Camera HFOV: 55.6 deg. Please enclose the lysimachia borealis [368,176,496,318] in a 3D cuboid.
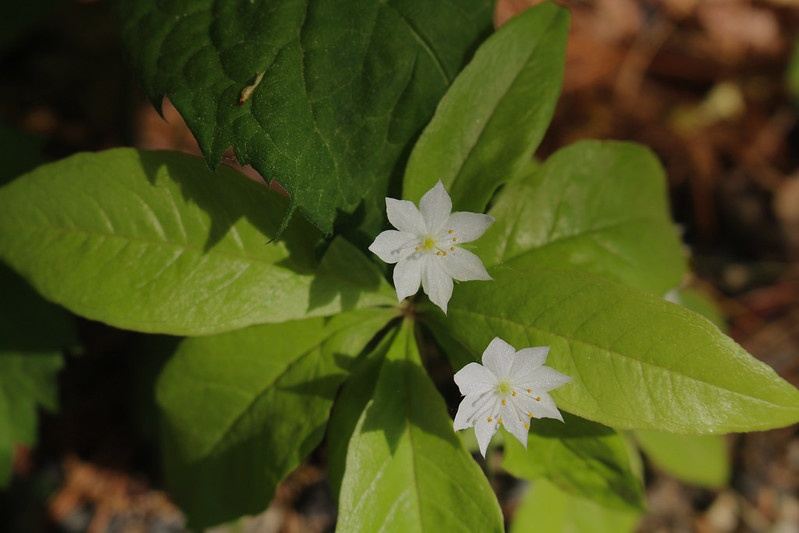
[{"bbox_3d":[0.110,-0.062,2.572,0.404,0.445,0.129,19,16,-1],"label":"lysimachia borealis"}]
